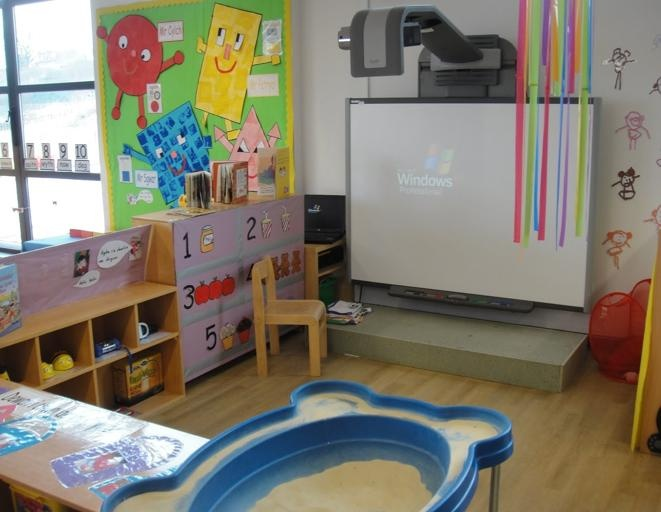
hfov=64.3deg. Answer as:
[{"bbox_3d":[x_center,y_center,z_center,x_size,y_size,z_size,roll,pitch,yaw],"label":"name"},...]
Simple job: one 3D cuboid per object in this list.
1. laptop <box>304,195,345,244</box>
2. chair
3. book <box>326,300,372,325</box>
[{"bbox_3d":[-0.067,-0.350,4.788,0.396,0.384,0.382,1,15,7],"label":"laptop"},{"bbox_3d":[-0.296,0.434,4.010,0.612,0.817,0.593,-4,9,-18],"label":"chair"},{"bbox_3d":[0.153,0.473,4.518,0.338,0.068,0.476,4,16,16],"label":"book"}]
